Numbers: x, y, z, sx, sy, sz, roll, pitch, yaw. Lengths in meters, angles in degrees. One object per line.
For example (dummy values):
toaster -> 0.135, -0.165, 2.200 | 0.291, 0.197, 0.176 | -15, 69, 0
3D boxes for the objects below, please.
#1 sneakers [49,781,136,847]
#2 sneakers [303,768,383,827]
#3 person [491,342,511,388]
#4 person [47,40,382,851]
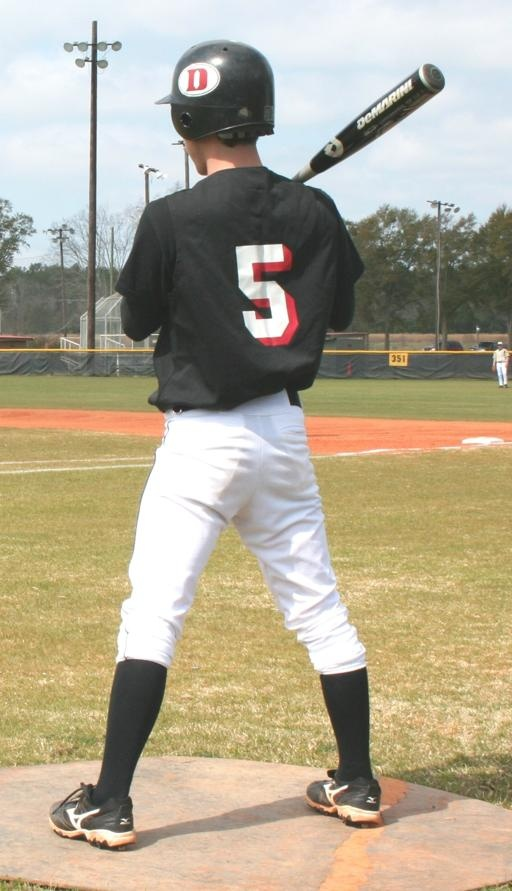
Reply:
sneakers -> -0.347, 0.794, 2.170 | 0.229, 0.113, 0.089 | 4, 0, 43
sneakers -> 0.197, 0.810, 2.291 | 0.080, 0.101, 0.202 | 8, -2, -35
person -> 7.070, -2.343, 28.702 | 0.335, 1.284, 2.061 | 3, 6, 15
person -> -0.077, 0.127, 2.181 | 0.721, 1.486, 0.268 | -1, 6, -17
